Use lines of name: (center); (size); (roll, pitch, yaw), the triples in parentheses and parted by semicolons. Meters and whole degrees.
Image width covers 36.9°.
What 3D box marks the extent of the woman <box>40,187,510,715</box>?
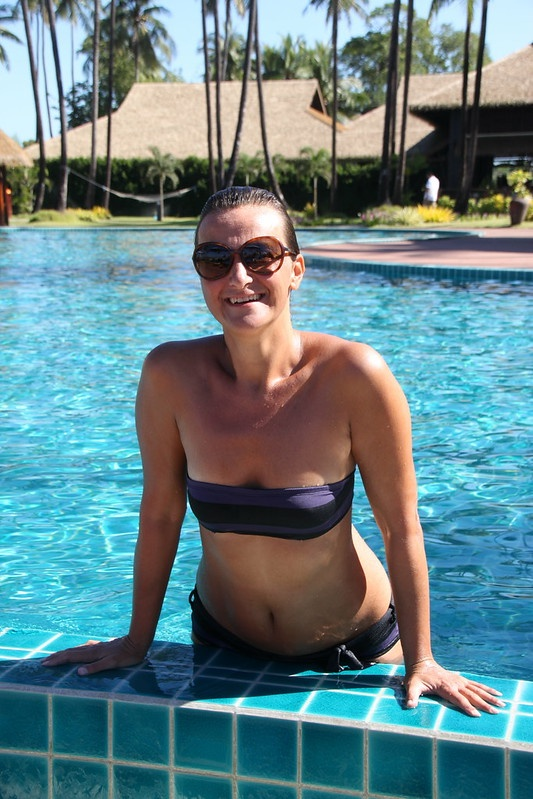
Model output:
woman: (0.013, 0.130, 1.553); (0.804, 1.073, 0.503); (-1, 12, 18)

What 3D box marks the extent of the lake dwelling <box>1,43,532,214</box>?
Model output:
lake dwelling: (1.172, -12.182, 36.002); (21.613, 7.552, 8.484); (3, 13, 36)
